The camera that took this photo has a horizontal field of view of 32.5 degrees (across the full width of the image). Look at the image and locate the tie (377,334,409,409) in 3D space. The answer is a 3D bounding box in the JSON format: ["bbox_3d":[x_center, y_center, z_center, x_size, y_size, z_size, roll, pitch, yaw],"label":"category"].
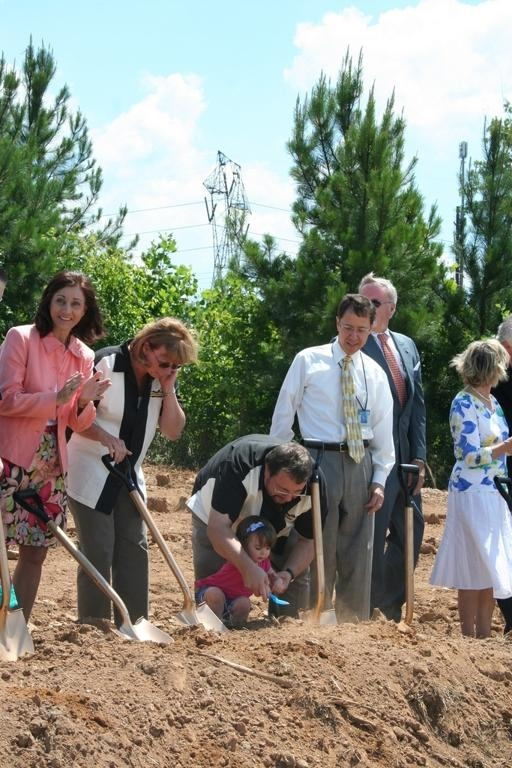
[{"bbox_3d":[0.846,-0.061,5.454,0.075,0.483,0.053,-5,-17,-41],"label":"tie"}]

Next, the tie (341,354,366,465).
[{"bbox_3d":[0.535,0.135,4.842,0.124,0.589,0.153,3,-4,-13],"label":"tie"}]

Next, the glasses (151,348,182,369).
[{"bbox_3d":[-0.409,-0.119,4.338,0.122,0.092,0.208,0,-5,21],"label":"glasses"}]

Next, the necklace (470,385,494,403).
[{"bbox_3d":[1.302,0.058,5.086,0.081,0.067,0.045,27,-34,-25],"label":"necklace"}]

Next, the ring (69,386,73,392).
[{"bbox_3d":[-0.827,0.021,3.953,0.017,0.015,0.004,5,3,11],"label":"ring"}]

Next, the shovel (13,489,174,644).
[{"bbox_3d":[-0.731,0.848,4.085,0.665,0.685,0.538,-1,-5,31],"label":"shovel"}]

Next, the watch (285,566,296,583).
[{"bbox_3d":[0.199,0.988,4.548,0.020,0.071,0.073,-28,43,-5],"label":"watch"}]
